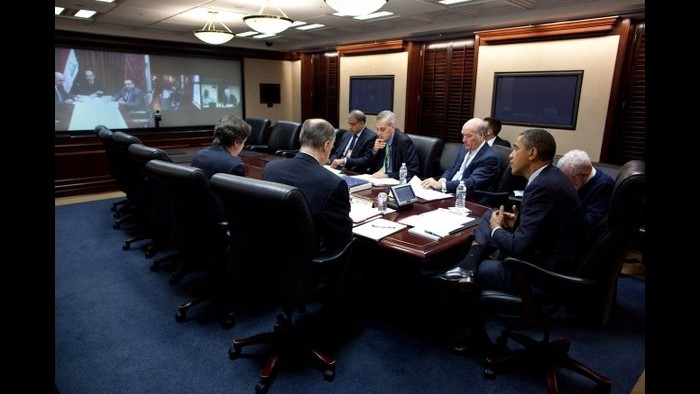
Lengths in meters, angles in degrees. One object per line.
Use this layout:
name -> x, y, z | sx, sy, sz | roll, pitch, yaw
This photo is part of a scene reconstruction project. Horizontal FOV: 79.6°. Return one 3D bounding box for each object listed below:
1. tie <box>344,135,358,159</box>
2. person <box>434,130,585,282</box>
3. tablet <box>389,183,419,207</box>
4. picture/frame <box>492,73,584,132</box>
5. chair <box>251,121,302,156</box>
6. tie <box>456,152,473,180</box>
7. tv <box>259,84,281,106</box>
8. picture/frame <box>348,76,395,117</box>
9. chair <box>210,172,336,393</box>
tie -> 0.012, -0.617, 5.237 | 0.072, 0.317, 0.096 | 32, -8, 28
person -> 1.270, 0.028, 3.172 | 1.049, 1.345, 0.788 | 13, 13, 40
tablet -> 0.425, -0.010, 3.320 | 0.108, 0.159, 0.233 | 15, 21, 42
picture/frame -> 2.497, -1.247, 5.473 | 1.253, 0.757, 0.085 | 19, 34, 41
chair -> -1.087, -0.935, 6.771 | 0.683, 0.762, 0.680 | 12, 14, 40
tie -> 1.173, -0.319, 4.301 | 0.098, 0.269, 0.203 | 30, 4, -14
tv -> -1.849, -2.354, 9.591 | 0.526, 0.425, 0.072 | -11, 22, -34
picture/frame -> 0.370, -1.855, 7.741 | 0.259, 0.698, 1.204 | -9, 18, -30
chair -> -0.457, 0.497, 2.541 | 0.661, 1.281, 0.461 | 13, 21, 39
